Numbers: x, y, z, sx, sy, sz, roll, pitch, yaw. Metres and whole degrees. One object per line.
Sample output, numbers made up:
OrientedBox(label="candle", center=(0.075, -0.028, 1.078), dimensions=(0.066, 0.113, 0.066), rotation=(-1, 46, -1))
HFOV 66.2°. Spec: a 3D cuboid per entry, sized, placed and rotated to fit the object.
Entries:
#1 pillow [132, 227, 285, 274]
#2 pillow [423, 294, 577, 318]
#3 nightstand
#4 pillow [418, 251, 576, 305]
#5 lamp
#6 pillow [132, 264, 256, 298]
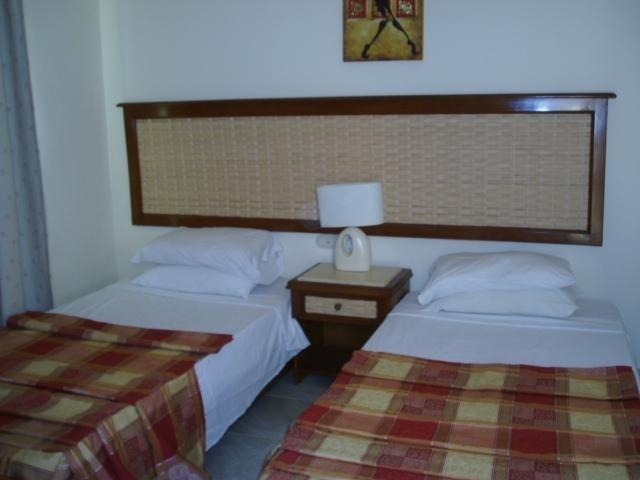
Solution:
OrientedBox(label="pillow", center=(-0.625, 0.033, 3.086), dimensions=(0.546, 0.132, 0.358), rotation=(3, 19, 11))
OrientedBox(label="pillow", center=(0.949, 0.337, 2.512), dimensions=(0.401, 0.061, 0.240), rotation=(1, 4, 15))
OrientedBox(label="nightstand", center=(0.176, 0.368, 3.116), dimensions=(0.819, 0.783, 0.649), rotation=(4, 14, 23))
OrientedBox(label="pillow", center=(0.914, 0.180, 2.604), dimensions=(0.498, 0.127, 0.439), rotation=(-6, 5, 18))
OrientedBox(label="lamp", center=(0.190, -0.101, 2.975), dimensions=(0.475, 0.590, 0.337), rotation=(4, 21, 24))
OrientedBox(label="pillow", center=(-0.767, 0.243, 2.991), dimensions=(0.479, 0.075, 0.284), rotation=(4, 16, 14))
